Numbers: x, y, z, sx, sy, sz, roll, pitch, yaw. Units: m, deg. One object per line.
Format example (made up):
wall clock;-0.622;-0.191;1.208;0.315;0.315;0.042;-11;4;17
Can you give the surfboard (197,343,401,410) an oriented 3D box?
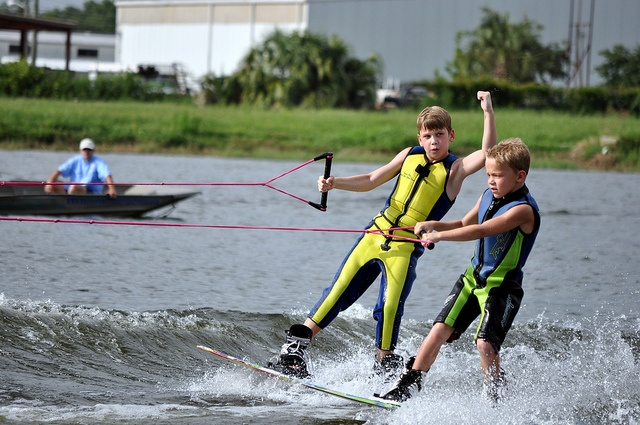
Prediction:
surfboard;-0.358;2.695;18.493;2.766;0.129;0.373;15;-6;16

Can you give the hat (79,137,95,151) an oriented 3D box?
hat;-4.685;-1.397;23.075;0.303;0.127;0.435;-8;23;-2

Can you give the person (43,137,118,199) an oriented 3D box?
person;-4.859;-0.709;23.461;1.602;1.455;0.953;10;12;10
